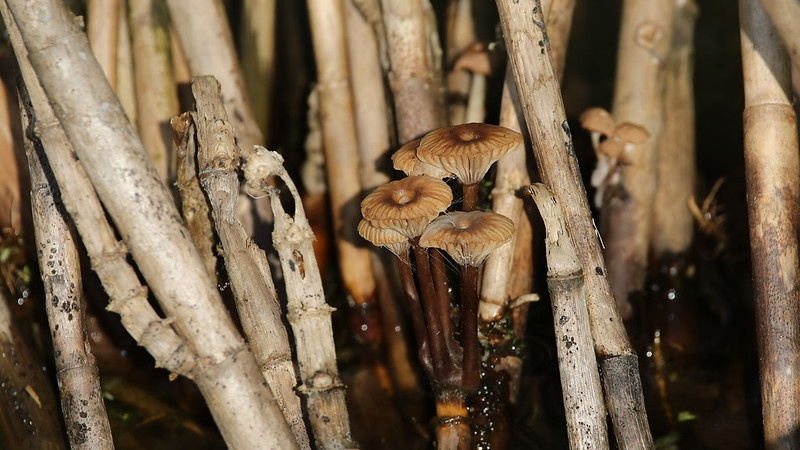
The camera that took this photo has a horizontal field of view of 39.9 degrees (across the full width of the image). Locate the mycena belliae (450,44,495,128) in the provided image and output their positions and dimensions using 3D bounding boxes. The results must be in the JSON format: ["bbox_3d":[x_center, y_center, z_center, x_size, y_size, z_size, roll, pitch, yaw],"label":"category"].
[{"bbox_3d":[0.332,-0.792,5.781,0.172,0.305,0.165,5,37,26],"label":"mycena belliae"}]

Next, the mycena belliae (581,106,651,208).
[{"bbox_3d":[1.033,-0.331,5.716,0.219,0.430,0.263,25,-20,-33],"label":"mycena belliae"}]

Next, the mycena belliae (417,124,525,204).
[{"bbox_3d":[0.303,-0.285,4.934,0.314,0.312,0.337,-13,37,-9],"label":"mycena belliae"}]
